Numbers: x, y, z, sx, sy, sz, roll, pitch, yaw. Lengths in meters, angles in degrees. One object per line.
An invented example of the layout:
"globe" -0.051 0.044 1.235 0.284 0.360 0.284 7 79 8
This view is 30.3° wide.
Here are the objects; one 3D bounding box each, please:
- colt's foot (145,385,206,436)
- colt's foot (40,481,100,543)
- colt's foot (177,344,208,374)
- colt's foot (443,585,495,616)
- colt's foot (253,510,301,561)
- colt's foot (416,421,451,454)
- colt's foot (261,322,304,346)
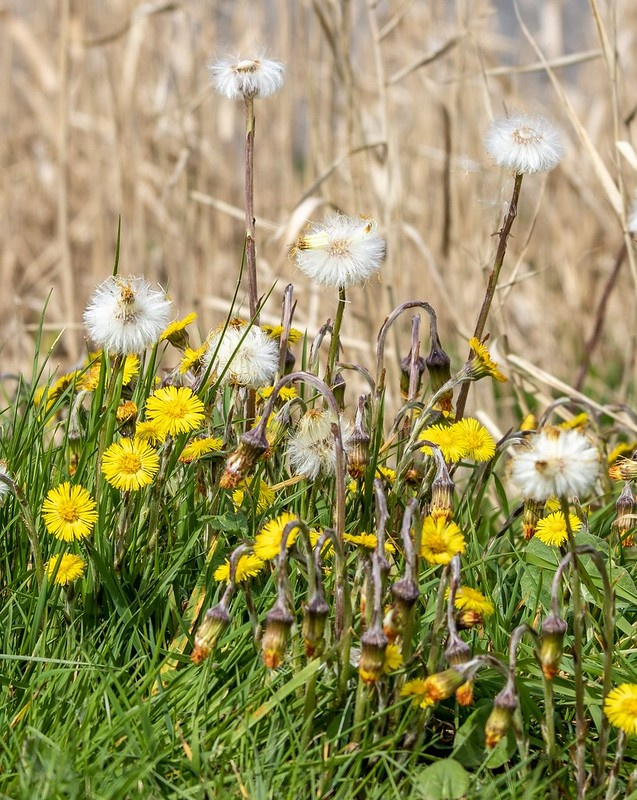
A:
"colt's foot" -0.277 0.018 2.287 0.114 0.069 0.138 -11 15 -20
"colt's foot" -0.472 0.206 2.240 0.096 0.053 0.116 15 21 -26
"colt's foot" -0.276 -0.076 2.537 0.052 0.028 0.059 3 40 49
"colt's foot" 0.265 0.358 2.084 0.060 0.024 0.067 36 7 -21
"colt's foot" -0.068 0.239 2.104 0.036 0.083 0.101 33 34 -20
"colt's foot" 0.241 0.066 2.352 0.048 0.028 0.053 -20 43 -32
"colt's foot" -0.072 -0.153 2.608 0.055 0.033 0.053 44 -17 -34
